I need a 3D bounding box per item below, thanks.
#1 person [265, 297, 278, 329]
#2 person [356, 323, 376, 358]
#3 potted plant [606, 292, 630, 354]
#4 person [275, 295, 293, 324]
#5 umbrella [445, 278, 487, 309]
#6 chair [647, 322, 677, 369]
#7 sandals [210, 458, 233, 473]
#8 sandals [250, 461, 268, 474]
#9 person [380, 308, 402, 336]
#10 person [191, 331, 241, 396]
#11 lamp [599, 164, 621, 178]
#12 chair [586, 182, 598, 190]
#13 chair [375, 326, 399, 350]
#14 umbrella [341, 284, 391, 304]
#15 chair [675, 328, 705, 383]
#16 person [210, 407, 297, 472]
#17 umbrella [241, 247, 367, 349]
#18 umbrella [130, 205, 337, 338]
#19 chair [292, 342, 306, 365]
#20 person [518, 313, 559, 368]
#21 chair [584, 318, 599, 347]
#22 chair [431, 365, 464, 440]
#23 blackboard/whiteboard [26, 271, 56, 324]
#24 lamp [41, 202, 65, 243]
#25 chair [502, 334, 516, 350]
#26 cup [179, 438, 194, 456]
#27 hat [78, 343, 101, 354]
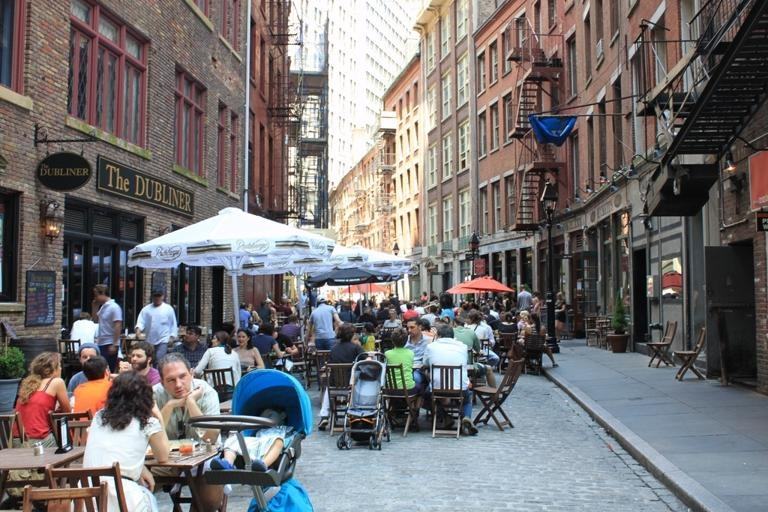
[{"bbox_3d":[-3.956,1.955,30.142,0.369,1.290,0.505,6,-17,-34],"label":"person"},{"bbox_3d":[-0.444,2.162,22.207,0.374,0.536,1.120,2,-12,-5],"label":"person"},{"bbox_3d":[8.229,2.354,30.082,0.718,1.967,1.003,-3,-7,16],"label":"potted plant"},{"bbox_3d":[-4.341,2.251,36.924,0.547,1.738,0.505,3,19,10],"label":"person"},{"bbox_3d":[3.478,1.225,34.334,1.646,0.616,1.766,-3,-6,1],"label":"umbrella"},{"bbox_3d":[8.261,2.564,25.548,0.868,1.344,0.858,-1,-1,23],"label":"chair"},{"bbox_3d":[-2.294,2.938,12.254,0.168,0.154,0.423,0,1,6],"label":"sandals"},{"bbox_3d":[-1.764,2.931,12.134,0.210,0.158,0.096,0,-7,-11],"label":"sandals"},{"bbox_3d":[0.184,1.996,26.463,0.595,0.452,1.343,-4,22,4],"label":"person"},{"bbox_3d":[-3.471,2.468,18.071,0.773,1.712,0.876,12,-26,-30],"label":"person"},{"bbox_3d":[8.582,-3.268,32.726,0.660,0.423,0.352,-16,-4,44],"label":"lamp"},{"bbox_3d":[8.430,-2.864,34.811,0.296,0.340,0.585,-1,-5,7],"label":"chair"},{"bbox_3d":[0.092,2.201,23.218,0.483,0.560,0.906,-4,-2,-6],"label":"chair"},{"bbox_3d":[-0.992,1.940,45.601,1.777,0.747,1.921,1,-4,-17],"label":"umbrella"},{"bbox_3d":[8.185,2.546,22.935,0.869,1.467,0.845,1,-1,8],"label":"chair"},{"bbox_3d":[-1.892,2.676,12.945,0.981,0.915,1.768,-7,-1,14],"label":"person"},{"bbox_3d":[-1.882,1.172,25.372,3.048,3.083,3.361,-3,-14,4],"label":"umbrella"},{"bbox_3d":[-3.336,0.230,20.682,4.220,2.904,3.813,-2,-7,6],"label":"umbrella"},{"bbox_3d":[-2.179,2.593,23.108,0.387,0.725,0.470,1,2,-10],"label":"chair"},{"bbox_3d":[4.901,2.625,27.070,1.086,2.048,0.723,-4,18,17],"label":"person"},{"bbox_3d":[8.154,2.916,33.978,0.736,1.414,1.324,0,-5,15],"label":"chair"},{"bbox_3d":[1.380,3.080,18.488,0.694,1.515,0.903,-1,-6,4],"label":"chair"},{"bbox_3d":[-8.157,0.946,20.336,0.107,1.472,1.162,-1,-2,21],"label":"blackboard/whiteboard"},{"bbox_3d":[-7.920,-0.884,20.687,0.375,0.971,0.630,-2,-7,13],"label":"lamp"},{"bbox_3d":[3.758,2.552,25.923,0.531,0.533,0.479,-4,-8,26],"label":"chair"},{"bbox_3d":[-3.066,2.962,13.350,0.171,0.197,0.179,2,0,0],"label":"cup"},{"bbox_3d":[-6.086,1.887,17.808,0.413,0.242,0.527,1,1,-3],"label":"hat"}]
